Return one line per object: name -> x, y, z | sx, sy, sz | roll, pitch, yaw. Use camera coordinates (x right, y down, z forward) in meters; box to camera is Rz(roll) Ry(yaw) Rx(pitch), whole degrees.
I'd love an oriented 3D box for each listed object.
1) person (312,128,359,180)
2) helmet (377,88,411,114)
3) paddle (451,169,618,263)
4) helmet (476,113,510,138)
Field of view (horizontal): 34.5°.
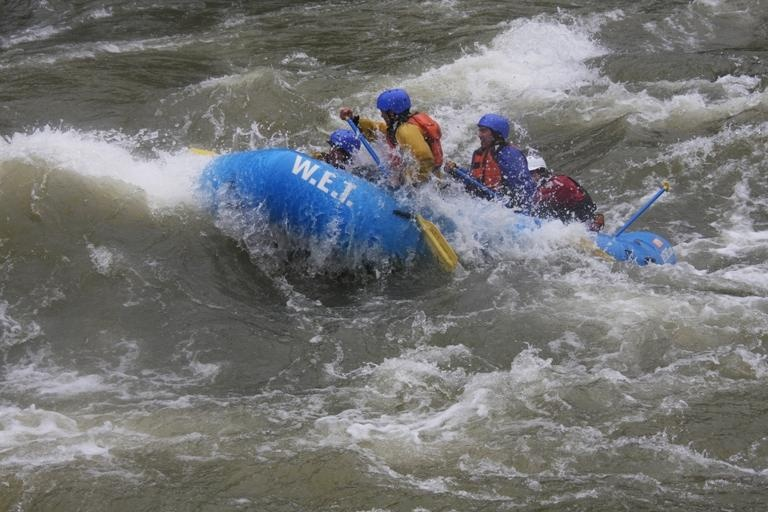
person -> -0.910, -1.907, 22.447 | 0.508, 0.600, 0.965 | -56, 15, -15
helmet -> 0.179, -2.778, 22.048 | 0.648, 0.424, 0.382 | 18, 38, 4
paddle -> 2.552, -0.674, 22.286 | 2.513, 0.722, 0.676 | 26, 46, 8
helmet -> 1.991, -2.419, 22.668 | 0.299, 0.649, 0.437 | -68, 18, 6
